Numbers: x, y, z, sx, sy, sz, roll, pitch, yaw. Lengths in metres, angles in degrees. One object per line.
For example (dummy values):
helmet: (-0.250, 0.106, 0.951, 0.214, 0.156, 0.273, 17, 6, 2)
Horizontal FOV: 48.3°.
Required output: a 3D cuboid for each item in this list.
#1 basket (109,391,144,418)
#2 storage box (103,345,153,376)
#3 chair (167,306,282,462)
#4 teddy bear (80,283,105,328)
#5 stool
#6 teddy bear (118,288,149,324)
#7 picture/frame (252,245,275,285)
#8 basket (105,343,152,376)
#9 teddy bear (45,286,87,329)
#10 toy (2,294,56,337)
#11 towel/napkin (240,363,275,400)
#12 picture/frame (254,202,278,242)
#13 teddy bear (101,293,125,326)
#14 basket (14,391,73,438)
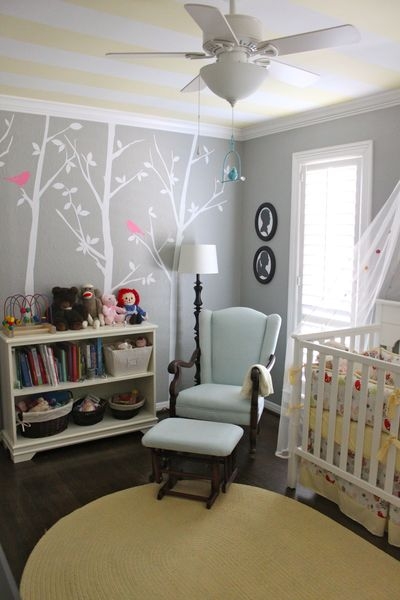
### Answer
basket: (-0.549, 0.786, 3.385, 0.207, 0.124, 0.187, 6, -8, -43)
storage box: (-0.522, 0.450, 3.277, 0.288, 0.190, 0.215, -3, 4, -25)
chair: (0.204, 0.539, 3.284, 0.653, 0.983, 0.573, 1, 0, 28)
teddy bear: (-0.798, 0.024, 3.274, 0.170, 0.318, 0.192, 9, 20, 31)
stool: (-0.018, 0.812, 2.555, 0.521, 0.392, 0.405, 2, 5, 20)
teddy bear: (-0.540, 0.037, 3.496, 0.208, 0.306, 0.153, -17, 9, -42)
picture/frame: (0.559, -0.308, 3.960, 0.031, 0.349, 0.337, -4, 13, -30)
basket: (-0.529, 0.420, 3.330, 0.292, 0.192, 0.211, -3, 4, -25)
teddy bear: (-0.930, 0.059, 3.268, 0.321, 0.368, 0.273, 0, -2, -31)
toy: (-1.180, 0.089, 3.017, 0.334, 0.253, 0.310, -3, 6, -25)
towel/napkin: (0.369, 0.536, 2.954, 0.202, 0.232, 0.155, -1, 5, -5)
picture/frame: (0.575, -0.689, 3.886, 0.013, 0.346, 0.333, -4, 8, -27)
teddy bear: (-0.662, 0.059, 3.343, 0.200, 0.261, 0.196, -8, -4, 39)
basket: (-1.076, 0.789, 3.107, 0.382, 0.237, 0.348, -2, 6, -20)
